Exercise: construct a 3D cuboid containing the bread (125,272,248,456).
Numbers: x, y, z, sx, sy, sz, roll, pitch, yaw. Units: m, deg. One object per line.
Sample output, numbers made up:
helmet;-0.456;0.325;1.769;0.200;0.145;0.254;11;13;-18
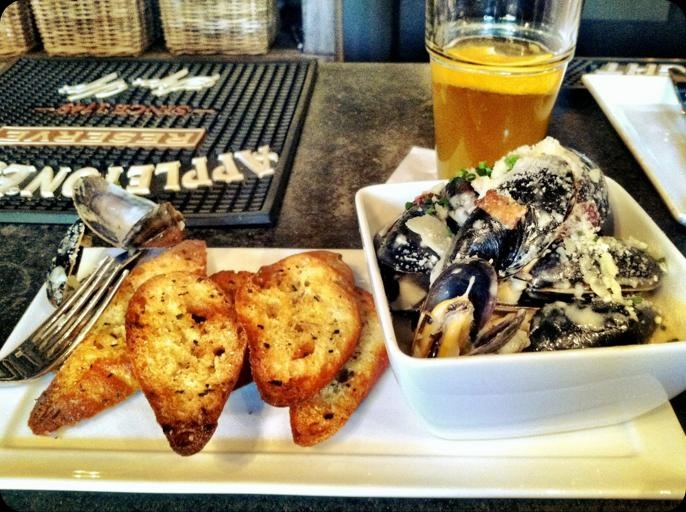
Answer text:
bread;-0.174;0.119;0.627;0.126;0.039;0.189;-4;69;-16
